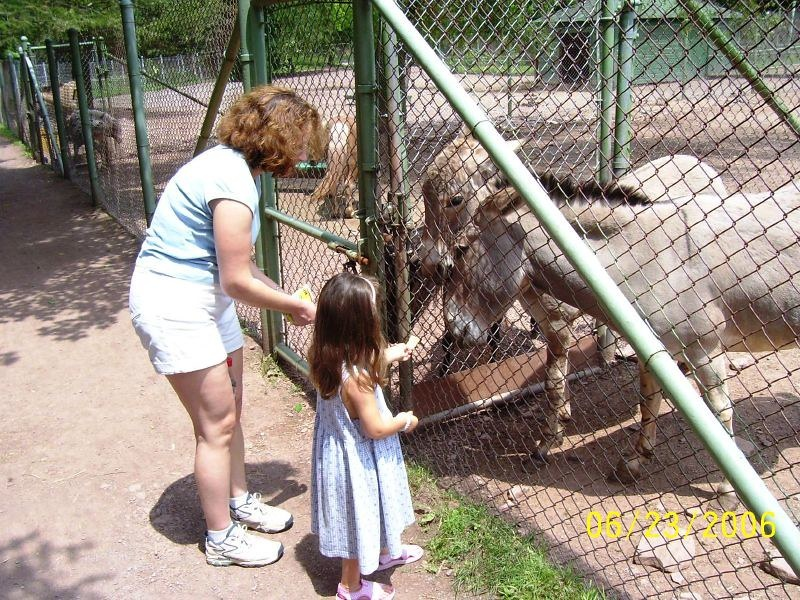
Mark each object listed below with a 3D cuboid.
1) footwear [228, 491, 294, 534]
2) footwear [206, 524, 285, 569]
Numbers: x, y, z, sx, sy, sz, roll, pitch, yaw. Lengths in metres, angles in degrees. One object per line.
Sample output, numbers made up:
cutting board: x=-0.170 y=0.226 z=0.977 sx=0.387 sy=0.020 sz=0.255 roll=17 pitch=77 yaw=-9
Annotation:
footwear: x=-0.907 y=1.328 z=4.282 sx=0.442 sy=0.234 sz=0.188 roll=3 pitch=28 yaw=11
footwear: x=-0.940 y=1.448 z=4.007 sx=0.439 sy=0.259 sz=0.199 roll=0 pitch=22 yaw=-6
